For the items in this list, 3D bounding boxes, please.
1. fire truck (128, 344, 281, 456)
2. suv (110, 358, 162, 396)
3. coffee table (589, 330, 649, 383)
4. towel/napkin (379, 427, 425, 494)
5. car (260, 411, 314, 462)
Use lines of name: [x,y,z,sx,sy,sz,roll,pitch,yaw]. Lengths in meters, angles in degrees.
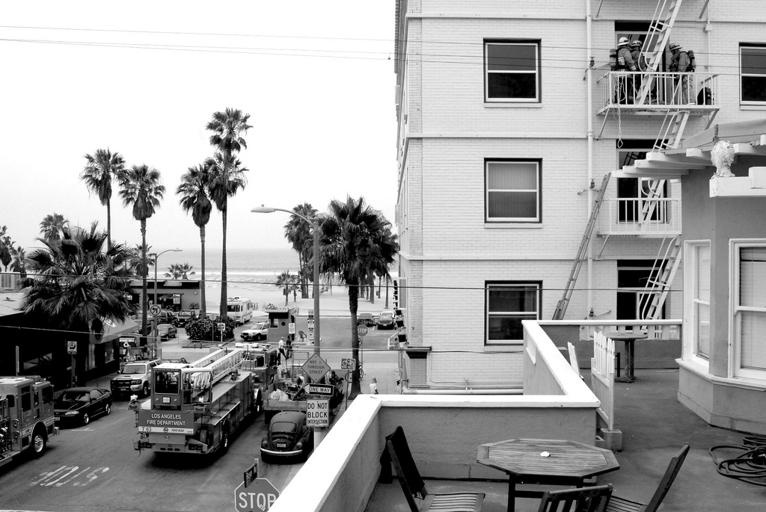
fire truck: [-7.073,5.419,38.676,2.764,3.664,8.720,1,5,10]
suv: [-12.544,6.108,48.662,1.722,1.559,3.789,0,3,5]
coffee table: [7.008,3.098,27.456,1.855,1.831,1.860,0,-2,5]
towel/napkin: [0.383,4.479,20.784,0.769,1.520,1.860,-1,0,-26]
car: [-3.656,6.513,36.676,1.794,1.304,3.841,1,11,1]
